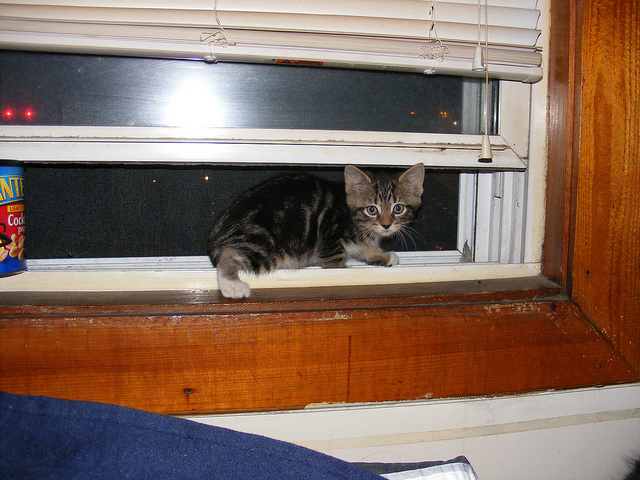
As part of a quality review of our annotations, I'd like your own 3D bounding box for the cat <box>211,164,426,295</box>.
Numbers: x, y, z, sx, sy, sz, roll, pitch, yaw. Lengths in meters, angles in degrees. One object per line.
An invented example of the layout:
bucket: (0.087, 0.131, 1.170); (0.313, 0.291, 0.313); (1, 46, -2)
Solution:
cat: (-0.001, -0.047, 2.095); (0.779, 0.384, 0.383); (-4, -72, 3)
